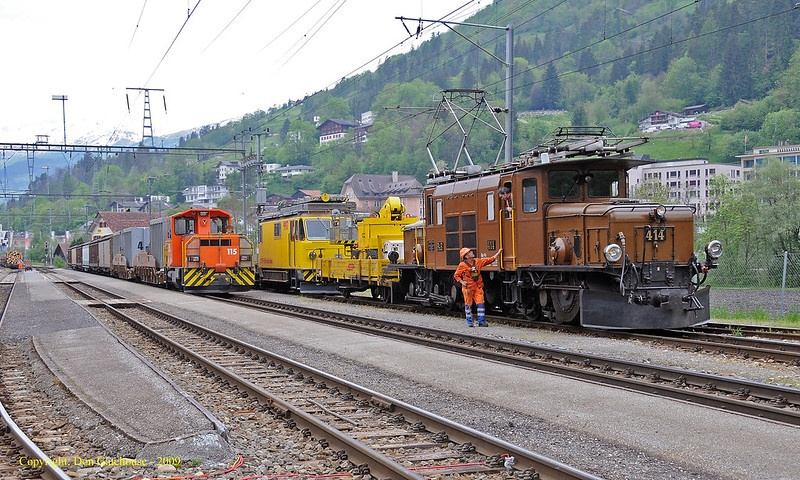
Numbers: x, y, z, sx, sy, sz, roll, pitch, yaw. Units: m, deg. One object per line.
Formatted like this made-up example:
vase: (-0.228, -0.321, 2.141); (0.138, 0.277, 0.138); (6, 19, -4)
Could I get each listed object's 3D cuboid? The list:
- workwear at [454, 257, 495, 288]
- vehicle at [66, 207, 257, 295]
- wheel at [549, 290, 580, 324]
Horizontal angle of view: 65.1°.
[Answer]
workwear: (2.559, 0.936, 21.055); (1.025, 0.768, 2.101); (1, 13, 27)
vehicle: (-29.853, 1.874, 67.642); (4.809, 5.259, 76.921); (-3, 0, -32)
wheel: (5.018, 1.979, 18.921); (0.276, 1.390, 1.174); (-6, 3, -37)
